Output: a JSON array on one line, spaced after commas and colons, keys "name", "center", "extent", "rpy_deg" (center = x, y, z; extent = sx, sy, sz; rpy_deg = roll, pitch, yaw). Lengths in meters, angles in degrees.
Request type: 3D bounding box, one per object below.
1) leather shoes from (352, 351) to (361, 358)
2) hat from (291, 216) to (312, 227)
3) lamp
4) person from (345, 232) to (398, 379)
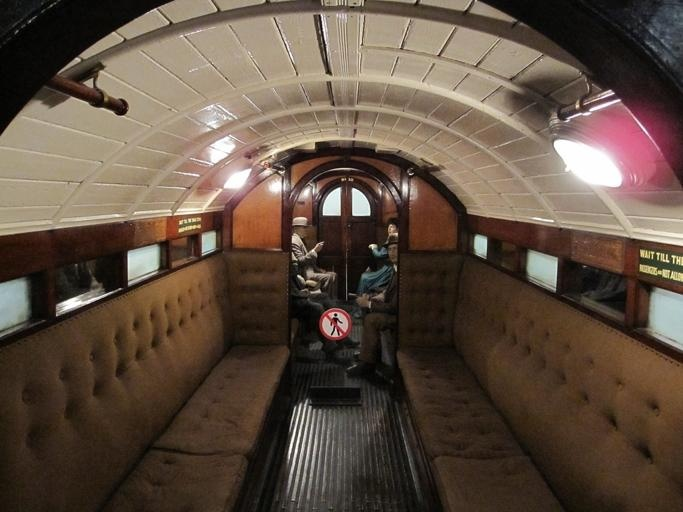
[{"name": "leather shoes", "center": [0.202, 1.350, 5.904], "extent": [0.133, 0.102, 0.133], "rpy_deg": [0, -4, 6]}, {"name": "hat", "center": [-0.720, -0.601, 7.606], "extent": [0.407, 0.178, 0.455], "rpy_deg": [1, -1, -5]}, {"name": "lamp", "center": [1.198, -0.525, 1.951], "extent": [0.372, 0.123, 0.355], "rpy_deg": [24, -15, 34]}, {"name": "person", "center": [0.497, 0.572, 6.182], "extent": [0.589, 1.555, 2.107], "rpy_deg": [3, 12, 7]}]
